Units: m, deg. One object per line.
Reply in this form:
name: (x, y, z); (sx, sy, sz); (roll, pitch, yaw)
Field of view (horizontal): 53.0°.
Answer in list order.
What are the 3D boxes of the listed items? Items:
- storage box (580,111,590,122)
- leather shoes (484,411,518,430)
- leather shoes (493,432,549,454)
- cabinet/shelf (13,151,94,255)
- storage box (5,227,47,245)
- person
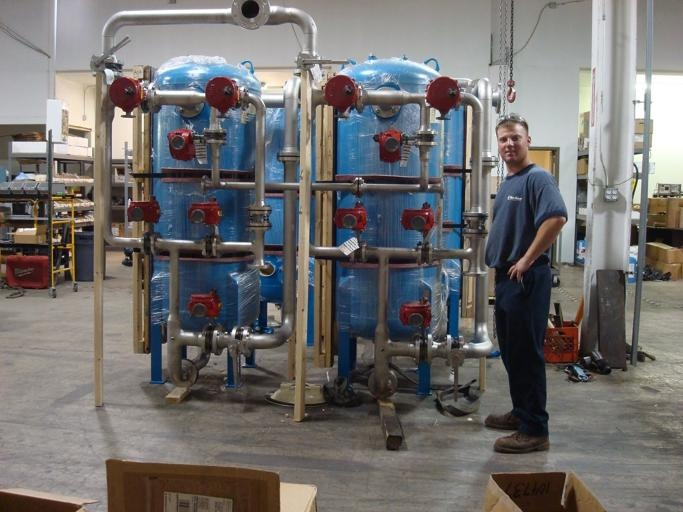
storage box: (3.992, -2.302, 11.329); (0.124, 0.194, 1.126); (4, 12, 17)
leather shoes: (1.086, 1.116, 4.721); (0.247, 0.112, 0.096); (5, 2, 11)
leather shoes: (1.142, 1.211, 4.419); (0.329, 0.164, 0.138); (2, -3, -2)
cabinet/shelf: (-3.981, -0.705, 9.463); (0.525, 1.664, 1.696); (-2, -3, 12)
storage box: (-4.081, -0.267, 8.997); (0.369, 0.151, 0.402); (1, 4, 4)
person: (1.175, 0.166, 4.474); (0.430, 2.125, 0.552); (1, 11, 3)
